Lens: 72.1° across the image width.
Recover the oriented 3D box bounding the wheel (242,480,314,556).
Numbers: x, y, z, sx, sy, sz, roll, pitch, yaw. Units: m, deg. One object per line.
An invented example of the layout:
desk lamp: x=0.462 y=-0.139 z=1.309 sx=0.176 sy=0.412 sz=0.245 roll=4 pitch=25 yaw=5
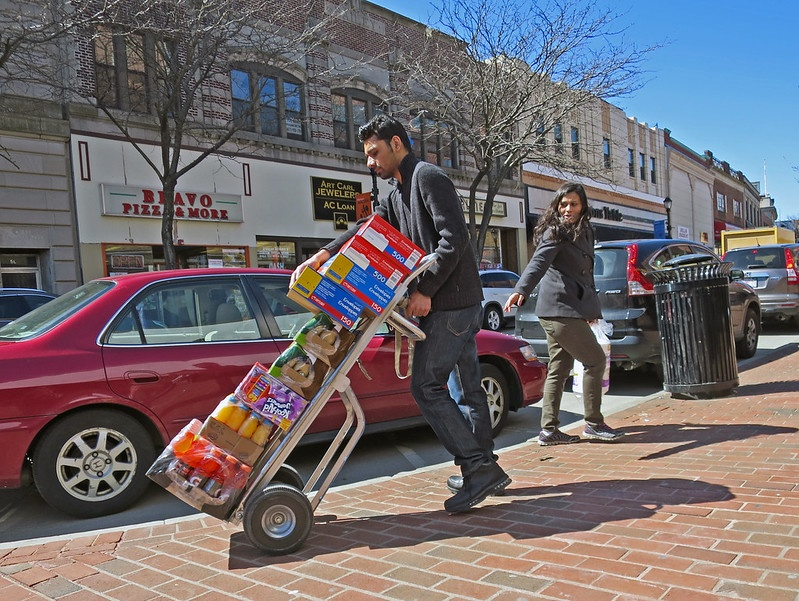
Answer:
wheel: x=-0.691 y=1.227 z=3.068 sx=0.382 sy=0.335 sz=0.136 roll=11 pitch=-18 yaw=-14

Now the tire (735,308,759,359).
tire: x=5.652 y=0.534 z=8.988 sx=0.262 sy=0.677 sz=0.742 roll=-8 pitch=12 yaw=42

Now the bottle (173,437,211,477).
bottle: x=-1.157 y=0.883 z=3.066 sx=0.172 sy=0.128 sz=0.045 roll=-5 pitch=-2 yaw=1

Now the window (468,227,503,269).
window: x=4.359 y=-2.423 z=26.353 sx=1.611 sy=1.943 sz=1.597 roll=5 pitch=4 yaw=-41

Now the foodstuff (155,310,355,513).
foodstuff: x=-0.906 y=0.550 z=3.474 sx=0.426 sy=1.393 sz=0.765 roll=23 pitch=-23 yaw=50

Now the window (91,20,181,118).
window: x=-6.825 y=-6.064 z=14.219 sx=1.768 sy=2.179 sz=1.531 roll=-4 pitch=-2 yaw=-35

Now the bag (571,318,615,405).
bag: x=1.940 y=0.597 z=5.523 sx=0.543 sy=0.909 sz=0.504 roll=5 pitch=-32 yaw=20

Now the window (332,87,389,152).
window: x=-1.626 y=-6.369 z=19.655 sx=0.301 sy=2.760 sz=3.334 roll=-21 pitch=32 yaw=-23

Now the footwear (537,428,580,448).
footwear: x=1.398 y=1.231 z=4.946 sx=0.423 sy=0.167 sz=0.142 roll=0 pitch=-2 yaw=-8

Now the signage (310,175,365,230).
signage: x=-2.094 y=-3.306 z=19.020 sx=0.089 sy=1.796 sz=2.413 roll=-3 pitch=2 yaw=41

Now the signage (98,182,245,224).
signage: x=-6.220 y=-2.697 z=15.132 sx=0.266 sy=0.763 sz=3.996 roll=11 pitch=12 yaw=40

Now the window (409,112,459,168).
window: x=1.300 y=-6.579 z=22.561 sx=0.199 sy=2.037 sz=3.561 roll=-12 pitch=28 yaw=-30

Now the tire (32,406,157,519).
tire: x=-2.262 y=1.186 z=4.061 sx=0.970 sy=0.855 sz=0.300 roll=-5 pitch=-5 yaw=-36

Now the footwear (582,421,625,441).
footwear: x=1.832 y=1.191 z=4.972 sx=0.364 sy=0.146 sz=0.141 roll=0 pitch=-1 yaw=24

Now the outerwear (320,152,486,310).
outerwear: x=0.184 y=-0.437 z=4.042 sx=1.237 sy=1.167 sz=0.962 roll=-11 pitch=1 yaw=-14
